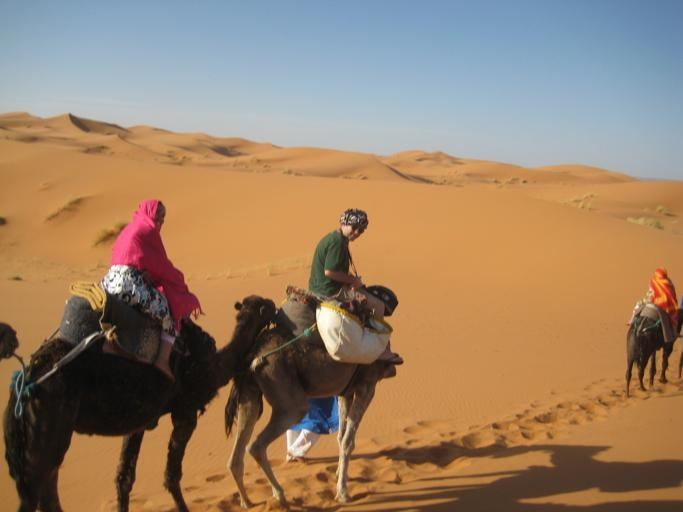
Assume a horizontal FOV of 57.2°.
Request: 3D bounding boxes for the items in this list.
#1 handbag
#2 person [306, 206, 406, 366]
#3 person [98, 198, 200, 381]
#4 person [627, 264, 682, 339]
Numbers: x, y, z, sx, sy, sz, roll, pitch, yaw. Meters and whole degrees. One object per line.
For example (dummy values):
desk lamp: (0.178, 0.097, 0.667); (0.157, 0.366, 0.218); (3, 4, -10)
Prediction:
handbag: (0.151, 1.141, 8.711); (1.165, 0.751, 0.836); (14, -17, -41)
person: (0.066, 0.279, 8.863); (1.096, 1.881, 0.686); (1, 1, 1)
person: (-2.129, 0.247, 7.346); (0.998, 2.078, 0.934); (-1, 18, -36)
person: (6.376, 0.853, 12.509); (0.971, 1.475, 0.943); (5, 11, 9)
